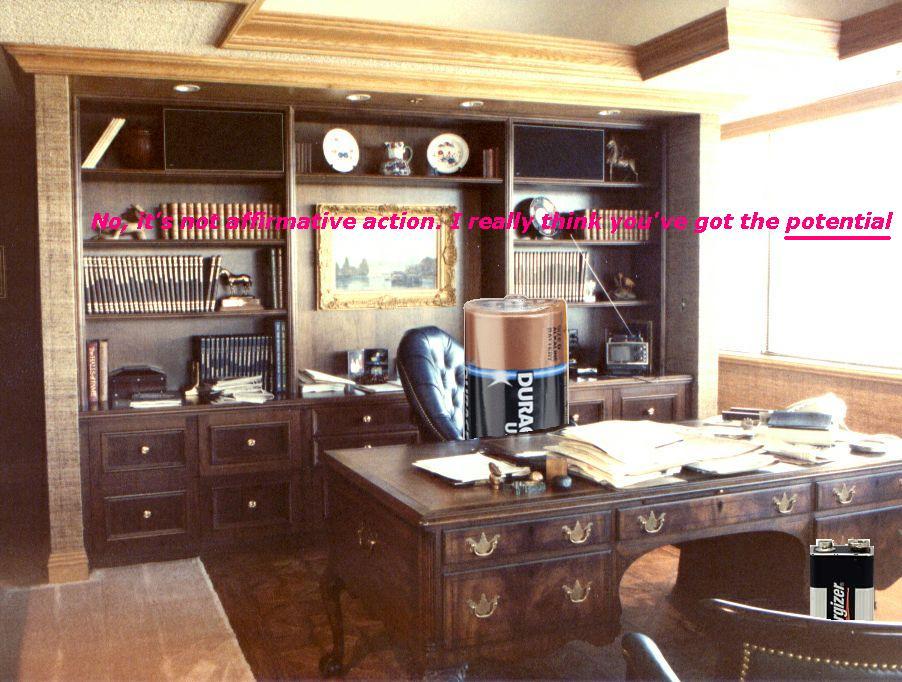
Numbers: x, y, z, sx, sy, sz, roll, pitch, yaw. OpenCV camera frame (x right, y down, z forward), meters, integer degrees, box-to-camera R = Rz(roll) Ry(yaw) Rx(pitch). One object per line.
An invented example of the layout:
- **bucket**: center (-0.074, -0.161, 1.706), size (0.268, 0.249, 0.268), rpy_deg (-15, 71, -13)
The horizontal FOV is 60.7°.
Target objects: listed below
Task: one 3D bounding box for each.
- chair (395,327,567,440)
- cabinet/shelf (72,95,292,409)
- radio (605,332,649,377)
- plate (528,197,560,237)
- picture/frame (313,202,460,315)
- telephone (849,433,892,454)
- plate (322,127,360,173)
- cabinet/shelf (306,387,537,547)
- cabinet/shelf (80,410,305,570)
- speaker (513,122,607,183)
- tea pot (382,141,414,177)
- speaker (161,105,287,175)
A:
- **chair**: center (0.049, 0.209, 3.938), size (0.734, 0.740, 0.595), rpy_deg (-10, 0, 28)
- **cabinet/shelf**: center (-1.493, -0.520, 4.442), size (1.230, 1.662, 0.589), rpy_deg (-3, 10, -12)
- **radio**: center (1.173, 0.095, 5.158), size (0.287, 0.239, 0.273), rpy_deg (0, 2, 1)
- **plate**: center (0.619, -0.827, 5.187), size (0.143, 0.270, 0.215), rpy_deg (7, 13, 39)
- **picture/frame**: center (-0.418, -0.531, 5.003), size (1.105, 0.712, 0.064), rpy_deg (3, 6, 30)
- **telephone**: center (1.741, 0.431, 3.217), size (0.121, 0.025, 0.110), rpy_deg (-4, 5, -19)
- **plate**: center (-0.673, -1.166, 4.752), size (0.212, 0.264, 0.080), rpy_deg (-9, 13, -39)
- **cabinet/shelf**: center (-0.338, 0.828, 4.543), size (1.245, 0.768, 0.679), rpy_deg (-1, 1, -20)
- **cabinet/shelf**: center (-1.521, 0.814, 4.413), size (0.448, 0.822, 1.302), rpy_deg (-14, -12, 41)
- **speaker**: center (0.695, -1.218, 5.016), size (0.744, 0.335, 0.336), rpy_deg (-3, 12, -14)
- **tea pot**: center (-0.334, -1.152, 4.867), size (0.192, 0.242, 0.322), rpy_deg (-1, 10, -3)
- **speaker**: center (-1.260, -1.134, 4.343), size (0.659, 0.357, 0.154), rpy_deg (-3, 10, -11)
